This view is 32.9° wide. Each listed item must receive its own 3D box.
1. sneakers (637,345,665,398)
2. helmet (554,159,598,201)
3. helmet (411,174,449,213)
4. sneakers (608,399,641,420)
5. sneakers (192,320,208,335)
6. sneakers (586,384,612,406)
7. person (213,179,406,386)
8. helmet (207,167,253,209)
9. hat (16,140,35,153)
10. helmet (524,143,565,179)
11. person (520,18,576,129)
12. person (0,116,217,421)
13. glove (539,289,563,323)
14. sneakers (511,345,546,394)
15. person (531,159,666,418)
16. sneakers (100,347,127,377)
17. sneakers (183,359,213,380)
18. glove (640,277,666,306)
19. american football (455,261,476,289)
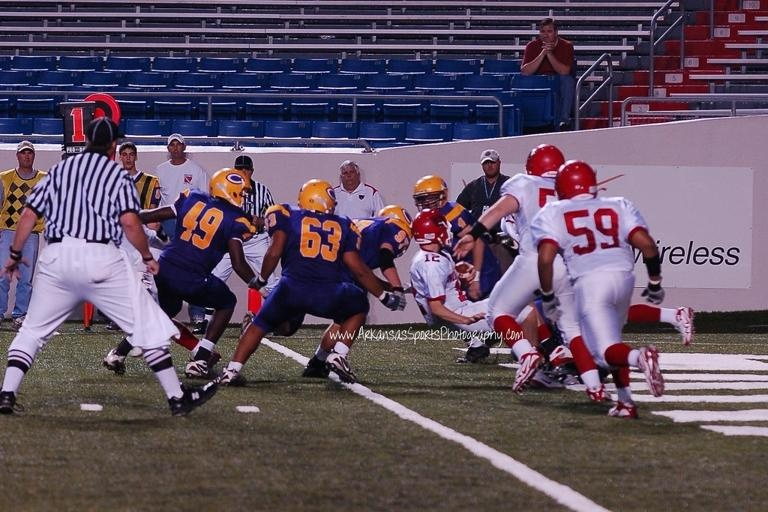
[{"bbox_3d":[2.347,0.973,11.338,0.181,0.484,0.216,-21,5,-33],"label":"sneakers"},{"bbox_3d":[1.733,-0.687,11.882,0.294,0.299,0.383,-16,-2,-6],"label":"helmet"},{"bbox_3d":[0.516,-0.684,14.174,0.305,0.315,0.388,-16,1,30],"label":"helmet"},{"bbox_3d":[2.138,1.344,11.600,0.266,0.155,0.238,3,13,10],"label":"sneakers"},{"bbox_3d":[-2.191,0.845,15.563,0.153,0.187,0.449,3,4,-16],"label":"sneakers"},{"bbox_3d":[1.966,1.264,11.895,0.125,0.140,0.335,-25,-15,5],"label":"sneakers"},{"bbox_3d":[-0.667,0.250,12.340,1.473,1.840,0.734,0,13,-2],"label":"person"},{"bbox_3d":[-1.459,-0.664,12.744,0.473,0.372,0.344,-1,11,-24],"label":"helmet"},{"bbox_3d":[-4.210,-1.300,15.255,0.185,0.142,0.274,-1,-4,-28],"label":"hat"},{"bbox_3d":[1.527,-0.929,12.665,0.318,0.317,0.401,-9,-2,-43],"label":"helmet"},{"bbox_3d":[2.502,-2.642,18.970,0.721,1.539,1.245,-5,14,-23],"label":"person"},{"bbox_3d":[-2.536,0.222,11.301,1.605,2.176,0.889,-2,13,-10],"label":"person"},{"bbox_3d":[1.593,0.458,12.392,0.154,0.182,0.578,-20,5,15],"label":"glove"},{"bbox_3d":[1.361,1.064,12.180,0.143,0.412,0.219,23,10,-34],"label":"sneakers"},{"bbox_3d":[1.974,0.285,11.829,1.235,2.298,0.925,-2,7,30],"label":"person"},{"bbox_3d":[-2.595,1.015,12.516,0.141,0.155,0.319,28,5,-29],"label":"sneakers"},{"bbox_3d":[-1.798,1.090,12.599,0.162,0.187,0.233,6,-6,33],"label":"sneakers"},{"bbox_3d":[2.461,0.313,11.878,0.188,0.300,0.306,0,6,7],"label":"glove"},{"bbox_3d":[0.821,0.191,13.245,0.213,0.200,0.297,-22,1,-1],"label":"american football"}]
